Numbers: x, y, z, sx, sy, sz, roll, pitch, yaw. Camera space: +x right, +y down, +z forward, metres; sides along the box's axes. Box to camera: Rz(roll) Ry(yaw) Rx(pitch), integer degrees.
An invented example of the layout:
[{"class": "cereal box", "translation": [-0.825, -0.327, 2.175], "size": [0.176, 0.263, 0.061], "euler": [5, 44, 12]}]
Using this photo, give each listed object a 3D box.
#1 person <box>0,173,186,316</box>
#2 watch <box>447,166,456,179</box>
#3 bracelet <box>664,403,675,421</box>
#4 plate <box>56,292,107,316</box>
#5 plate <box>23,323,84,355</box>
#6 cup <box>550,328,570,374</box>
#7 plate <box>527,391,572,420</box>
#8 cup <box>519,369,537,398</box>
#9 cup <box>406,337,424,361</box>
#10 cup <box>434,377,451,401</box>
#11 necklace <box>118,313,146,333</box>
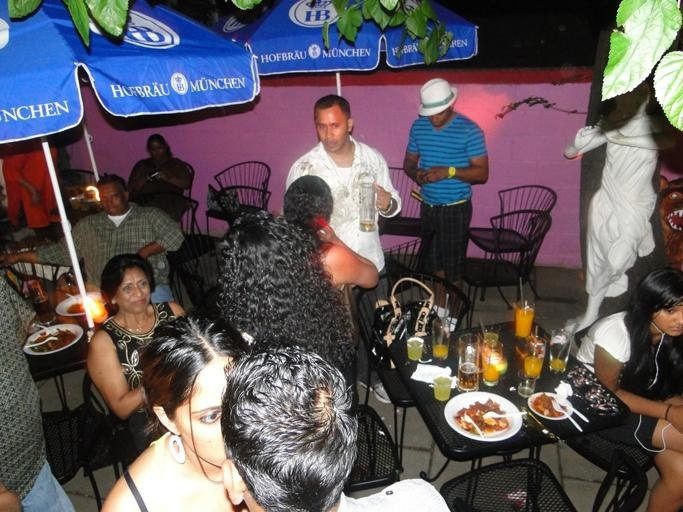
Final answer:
[{"class": "person", "translation": [-2.255, -0.138, 4.541], "size": [1.107, 1.482, 0.750], "euler": [-15, 25, -21]}, {"class": "watch", "translation": [1.161, -0.884, 5.088], "size": [0.071, 0.123, 0.103], "euler": [5, -11, 6]}, {"class": "bracelet", "translation": [2.014, 0.972, 2.998], "size": [0.019, 0.079, 0.077], "euler": [5, -10, 20]}, {"class": "plate", "translation": [-2.013, 0.314, 3.746], "size": [0.254, 0.070, 0.276], "euler": [6, 28, 4]}, {"class": "plate", "translation": [-2.037, 0.601, 3.461], "size": [0.212, 0.032, 0.229], "euler": [16, 30, 23]}, {"class": "cup", "translation": [1.486, 0.637, 3.292], "size": [0.120, 0.261, 0.213], "euler": [7, 20, 26]}, {"class": "plate", "translation": [1.248, 0.922, 2.952], "size": [0.138, 0.041, 0.149], "euler": [6, 25, 19]}, {"class": "cup", "translation": [1.181, 0.825, 3.126], "size": [0.112, 0.143, 0.127], "euler": [2, 23, 5]}, {"class": "cup", "translation": [0.518, 0.652, 3.451], "size": [0.126, 0.156, 0.134], "euler": [0, 15, 0]}, {"class": "cup", "translation": [0.640, 0.851, 3.127], "size": [0.110, 0.137, 0.125], "euler": [0, 30, 4]}, {"class": "necklace", "translation": [-1.381, 0.459, 3.214], "size": [0.133, 0.134, 0.057], "euler": [-13, -19, -34]}]
